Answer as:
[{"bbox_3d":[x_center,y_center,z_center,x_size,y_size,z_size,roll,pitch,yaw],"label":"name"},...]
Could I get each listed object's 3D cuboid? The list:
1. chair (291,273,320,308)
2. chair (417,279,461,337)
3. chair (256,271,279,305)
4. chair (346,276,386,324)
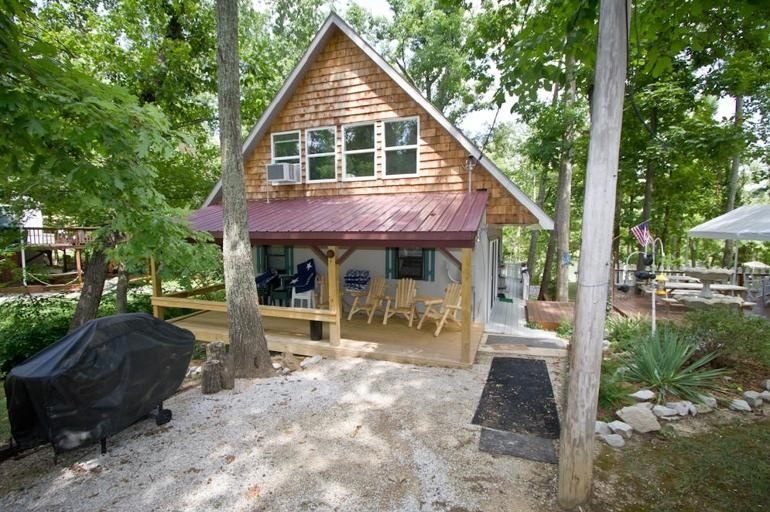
[{"bbox_3d":[-2.705,1.337,17.383,0.861,1.563,1.082,-2,-7,18],"label":"chair"},{"bbox_3d":[1.816,1.729,16.371,1.498,1.681,2.179,1,-2,-2],"label":"chair"},{"bbox_3d":[-4.437,1.228,18.194,0.857,1.165,1.092,0,5,36],"label":"chair"},{"bbox_3d":[-0.690,1.550,17.317,1.284,1.945,1.512,-1,1,32],"label":"chair"}]
